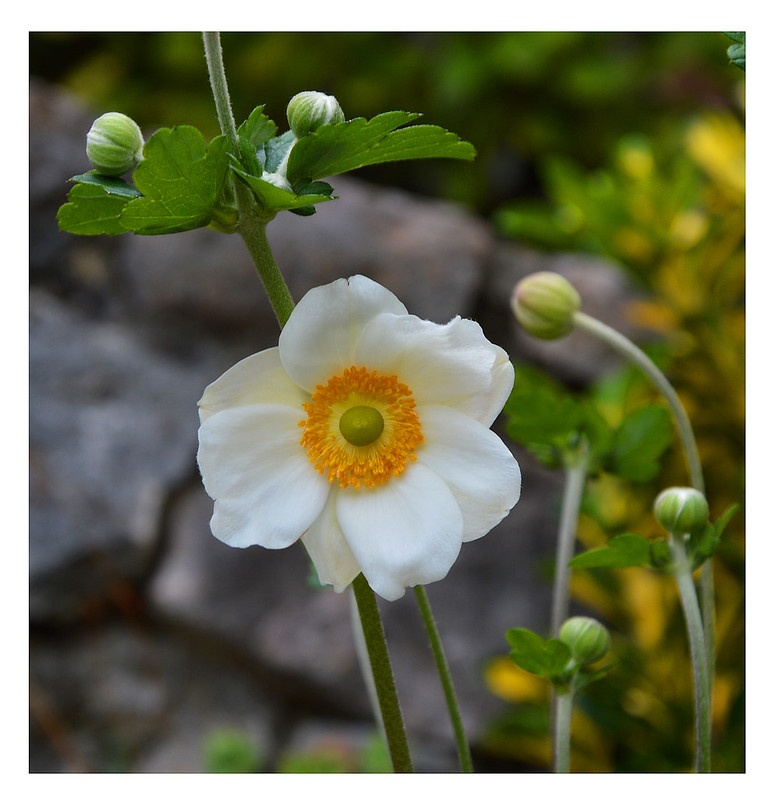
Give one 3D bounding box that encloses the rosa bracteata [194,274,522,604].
[{"bbox_3d":[-0.016,0.042,0.872,0.301,0.281,0.169,30,23,10],"label":"rosa bracteata"}]
